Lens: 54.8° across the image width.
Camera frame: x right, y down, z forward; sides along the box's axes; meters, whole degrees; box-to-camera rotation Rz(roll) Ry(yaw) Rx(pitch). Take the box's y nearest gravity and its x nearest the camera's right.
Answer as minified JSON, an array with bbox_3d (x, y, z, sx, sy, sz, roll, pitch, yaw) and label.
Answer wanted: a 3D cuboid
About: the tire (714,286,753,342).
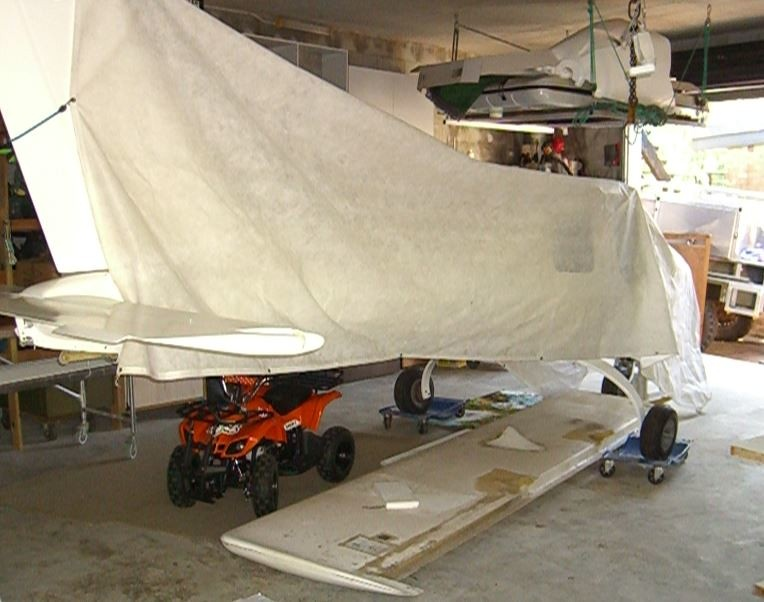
[{"bbox_3d":[4.409,0.163,9.000,0.543,0.661,0.591,1,0,21],"label":"tire"}]

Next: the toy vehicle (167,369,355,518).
[{"bbox_3d":[-0.717,0.824,4.826,0.682,0.973,1.378,0,3,28],"label":"toy vehicle"}]

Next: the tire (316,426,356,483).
[{"bbox_3d":[-0.301,1.039,4.885,0.087,0.319,0.285,7,23,30],"label":"tire"}]

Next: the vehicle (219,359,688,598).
[{"bbox_3d":[0.494,1.088,4.523,1.166,0.533,3.438,7,14,32],"label":"vehicle"}]

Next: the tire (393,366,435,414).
[{"bbox_3d":[0.275,0.751,6.014,0.143,0.399,0.353,2,-2,35],"label":"tire"}]

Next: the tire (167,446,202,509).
[{"bbox_3d":[-1.200,1.067,4.479,0.206,0.457,0.205,-1,11,-4],"label":"tire"}]
